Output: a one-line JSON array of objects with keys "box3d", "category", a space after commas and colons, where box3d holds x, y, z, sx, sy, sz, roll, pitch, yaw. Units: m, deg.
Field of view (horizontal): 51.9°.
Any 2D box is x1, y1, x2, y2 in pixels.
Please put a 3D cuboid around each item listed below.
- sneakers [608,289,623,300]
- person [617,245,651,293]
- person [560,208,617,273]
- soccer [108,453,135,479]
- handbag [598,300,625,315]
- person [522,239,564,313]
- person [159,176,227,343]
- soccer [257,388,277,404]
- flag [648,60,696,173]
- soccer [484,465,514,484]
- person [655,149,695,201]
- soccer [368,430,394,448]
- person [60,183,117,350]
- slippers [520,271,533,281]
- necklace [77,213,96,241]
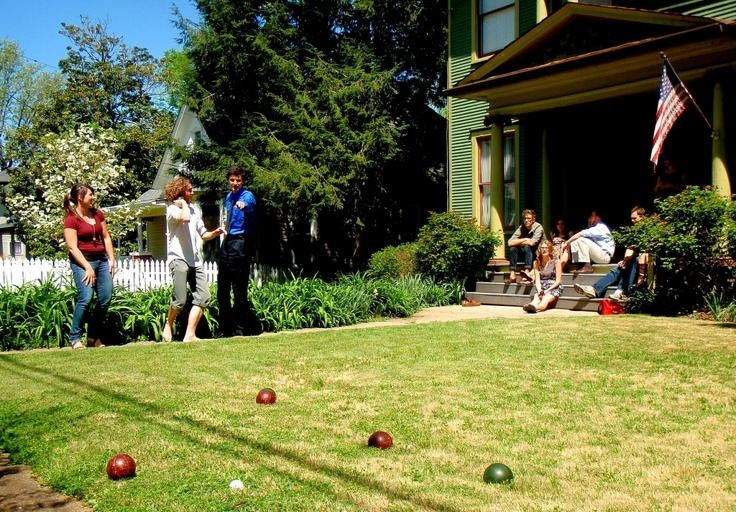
[{"box3d": [4.903, 0.743, 14.845, 0.306, 0.146, 0.120, 2, -3, -44], "category": "sneakers"}, {"box3d": [5.206, 0.214, 14.918, 0.489, 1.002, 1.041, 5, 12, 28], "category": "person"}, {"box3d": [4.894, -0.300, 16.519, 0.910, 1.503, 0.820, 7, -10, -4], "category": "person"}, {"box3d": [-2.456, 2.103, 7.654, 0.208, 0.244, 0.218, -4, -8, 31], "category": "soccer"}, {"box3d": [4.685, 0.972, 14.477, 0.431, 0.179, 0.251, 3, -5, -38], "category": "handbag"}, {"box3d": [3.688, 0.398, 15.793, 0.690, 1.276, 1.492, 3, 11, 16], "category": "person"}, {"box3d": [-2.933, 0.065, 12.446, 0.683, 2.649, 0.573, -3, 10, -16], "category": "person"}, {"box3d": [-1.210, 1.682, 9.117, 0.240, 0.136, 0.235, -1, 11, -8], "category": "soccer"}, {"box3d": [5.692, -2.695, 14.306, 0.511, 1.909, 1.444, 6, 12, 32], "category": "flag"}, {"box3d": [1.305, 2.166, 7.494, 0.191, 0.233, 0.196, 20, -53, -34], "category": "soccer"}, {"box3d": [6.867, -1.852, 17.198, 0.775, 0.499, 1.376, -5, -44, 29], "category": "person"}, {"box3d": [0.139, 1.957, 8.094, 0.164, 0.142, 0.180, 2, -5, -1], "category": "soccer"}, {"box3d": [-4.494, 0.184, 12.288, 0.769, 2.698, 0.796, -7, 12, -33], "category": "person"}, {"box3d": [3.500, 0.435, 16.644, 0.133, 0.140, 0.322, -12, 27, -25], "category": "slippers"}, {"box3d": [-4.488, -0.472, 12.202, 0.248, 0.513, 0.355, -1, -1, 43], "category": "necklace"}]
